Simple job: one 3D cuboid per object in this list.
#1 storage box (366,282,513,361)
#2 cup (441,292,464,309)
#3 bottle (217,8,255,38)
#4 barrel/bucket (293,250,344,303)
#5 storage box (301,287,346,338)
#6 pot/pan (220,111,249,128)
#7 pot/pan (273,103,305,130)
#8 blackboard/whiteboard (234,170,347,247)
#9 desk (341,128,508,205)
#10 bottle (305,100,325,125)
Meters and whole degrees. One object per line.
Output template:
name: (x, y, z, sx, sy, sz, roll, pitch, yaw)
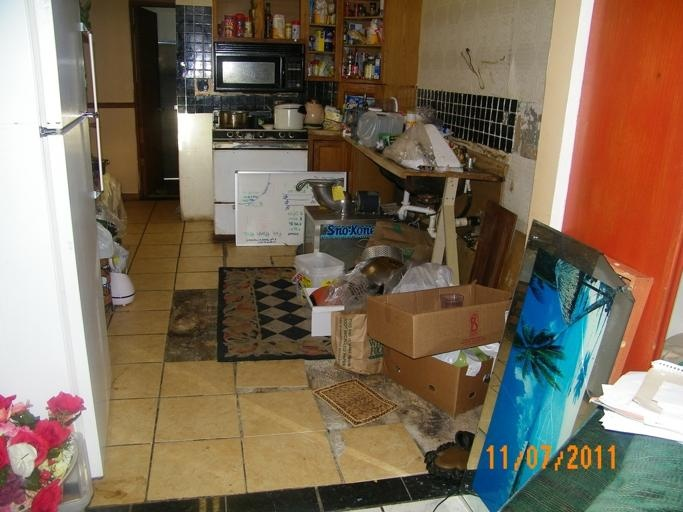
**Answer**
storage box: (0.663, 0.370, 3.126, 0.891, 0.273, 0.512, 0, -20, 46)
cup: (0.661, 0.264, 3.089, 0.096, 0.075, 0.106, -1, 24, 0)
bottle: (-1.112, -2.491, 5.521, 0.422, 0.282, 0.239, -3, 35, -11)
barrel/bucket: (-0.176, 0.161, 4.218, 0.379, 0.285, 0.489, 3, 3, -17)
storage box: (-0.134, 0.362, 3.681, 0.289, 0.234, 0.394, 0, 28, -3)
pot/pan: (-1.159, -1.464, 5.564, 0.223, 0.134, 0.222, -7, 23, -22)
pot/pan: (-0.549, -1.500, 5.510, 0.291, 0.248, 0.292, -3, 17, -11)
blackboard/whiteboard: (-0.545, -0.501, 5.401, 1.168, 0.791, 0.082, 0, 1, 8)
desk: (0.625, -0.768, 4.257, 0.713, 0.668, 1.544, -3, 21, -12)
bottle: (-0.294, -1.576, 5.672, 0.206, 0.263, 0.272, 8, 8, 40)
